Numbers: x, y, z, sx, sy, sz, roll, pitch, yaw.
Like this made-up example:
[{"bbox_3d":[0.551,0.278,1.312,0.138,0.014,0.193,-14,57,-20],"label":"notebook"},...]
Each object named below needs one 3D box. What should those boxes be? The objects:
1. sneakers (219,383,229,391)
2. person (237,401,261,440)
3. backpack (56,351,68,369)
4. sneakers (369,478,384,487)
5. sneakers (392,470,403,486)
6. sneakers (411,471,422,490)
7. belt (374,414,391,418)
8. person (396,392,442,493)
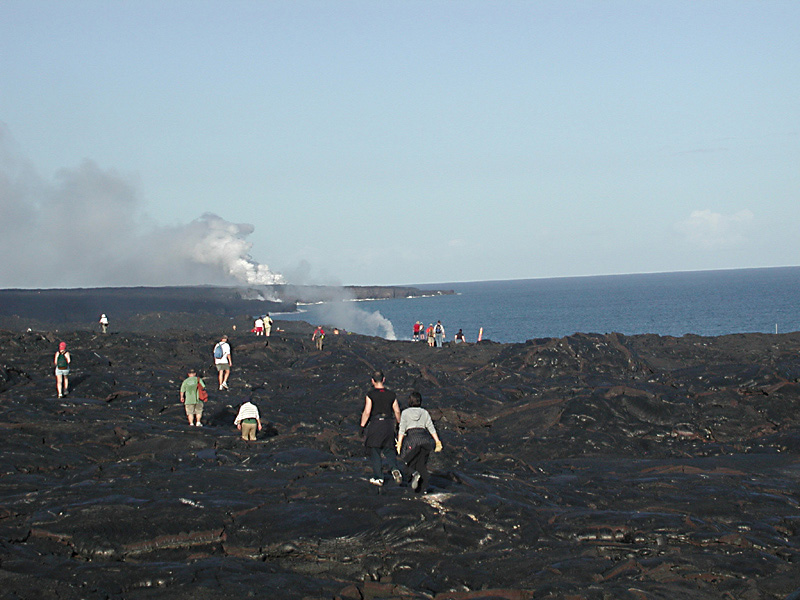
[{"bbox_3d":[-6.649,3.299,37.656,0.138,0.267,0.399,2,-12,-23],"label":"sneakers"},{"bbox_3d":[-4.493,3.564,29.262,0.617,1.196,0.292,4,10,2],"label":"person"},{"bbox_3d":[-11.206,1.988,33.013,0.246,0.601,0.426,10,12,33],"label":"backpack"},{"bbox_3d":[-0.607,4.585,25.090,0.163,0.146,0.365,2,-3,-35],"label":"sneakers"},{"bbox_3d":[-0.085,4.489,25.179,0.277,0.387,0.213,-10,-5,1],"label":"sneakers"},{"bbox_3d":[0.406,4.518,24.867,0.189,0.500,0.233,4,-9,0],"label":"sneakers"},{"bbox_3d":[-0.429,2.823,24.287,0.283,0.101,0.119,-1,-39,-2],"label":"belt"},{"bbox_3d":[0.455,3.536,24.425,1.080,2.588,0.828,6,10,10],"label":"person"}]
